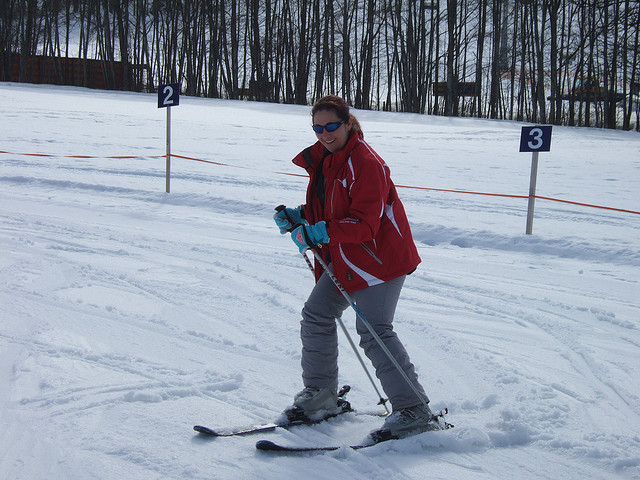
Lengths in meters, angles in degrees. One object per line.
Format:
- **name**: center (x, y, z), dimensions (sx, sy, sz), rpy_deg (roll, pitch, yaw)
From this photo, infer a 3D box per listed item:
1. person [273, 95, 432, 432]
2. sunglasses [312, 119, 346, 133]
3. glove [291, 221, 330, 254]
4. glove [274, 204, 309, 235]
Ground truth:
- **person**: center (0.231, 0.152, 4.049), dimensions (1.101, 2.224, 0.549), rpy_deg (2, 9, 12)
- **sunglasses**: center (0.055, -0.752, 3.960), dimensions (0.217, 0.086, 0.065), rpy_deg (1, 9, 1)
- **glove**: center (-0.058, -0.012, 3.958), dimensions (0.199, 0.247, 0.332), rpy_deg (-7, 11, -41)
- **glove**: center (-0.220, -0.139, 4.208), dimensions (0.196, 0.237, 0.103), rpy_deg (-33, -12, -18)
